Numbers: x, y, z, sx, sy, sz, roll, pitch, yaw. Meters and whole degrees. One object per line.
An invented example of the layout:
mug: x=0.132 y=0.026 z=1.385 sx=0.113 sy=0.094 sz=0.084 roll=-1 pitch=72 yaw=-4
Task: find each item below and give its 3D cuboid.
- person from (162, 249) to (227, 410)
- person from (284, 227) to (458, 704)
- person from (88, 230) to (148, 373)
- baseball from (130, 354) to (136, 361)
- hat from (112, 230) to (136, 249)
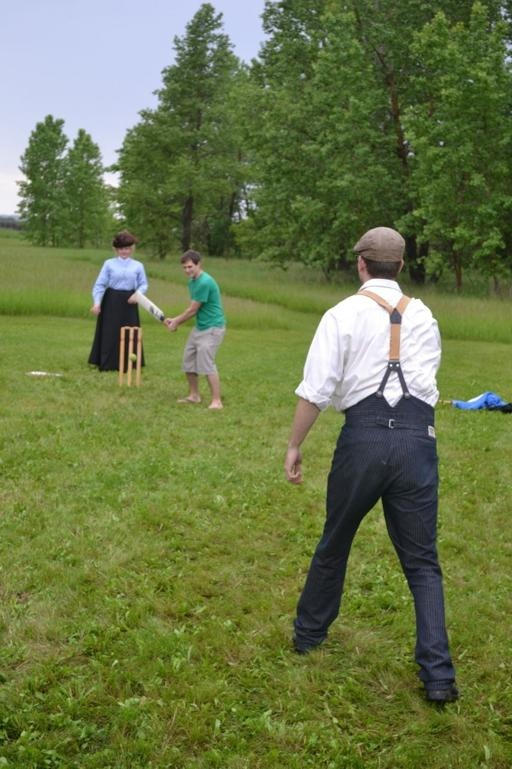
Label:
person: x=-0.720 y=-0.660 z=10.547 sx=0.701 sy=1.920 sz=0.945 roll=3 pitch=9 yaw=-3
person: x=0.606 y=0.359 z=4.229 sx=0.968 sy=2.241 sz=0.642 roll=6 pitch=10 yaw=15
person: x=-1.914 y=-1.106 z=12.031 sx=0.700 sy=1.997 sz=0.937 roll=2 pitch=10 yaw=-10
baseball: x=-1.682 y=-0.372 z=11.783 sx=0.065 sy=0.077 sz=0.076 roll=-1 pitch=51 yaw=-19
hat: x=-1.784 y=-1.972 z=11.728 sx=0.242 sy=0.221 sz=0.285 roll=-4 pitch=3 yaw=-12
